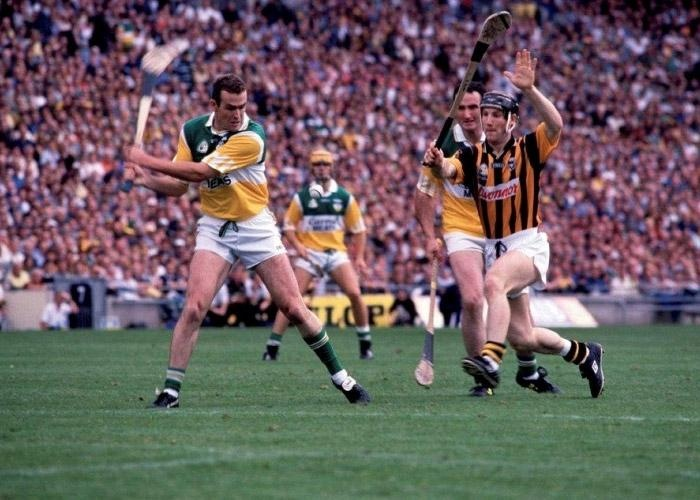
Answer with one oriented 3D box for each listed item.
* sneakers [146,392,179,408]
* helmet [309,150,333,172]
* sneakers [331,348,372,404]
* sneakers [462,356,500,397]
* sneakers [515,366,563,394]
[{"bbox_3d":[-1.652,1.321,8.140,0.238,0.156,0.291,0,4,-7],"label":"sneakers"},{"bbox_3d":[-0.378,-1.221,12.530,0.275,0.296,0.297,-1,-8,-5],"label":"helmet"},{"bbox_3d":[-0.009,1.180,8.346,0.191,0.488,0.208,-44,13,-4],"label":"sneakers"},{"bbox_3d":[1.227,1.168,8.452,0.172,0.220,0.473,-8,-46,50],"label":"sneakers"},{"bbox_3d":[1.918,1.238,8.930,0.531,0.258,0.189,11,19,26],"label":"sneakers"}]
